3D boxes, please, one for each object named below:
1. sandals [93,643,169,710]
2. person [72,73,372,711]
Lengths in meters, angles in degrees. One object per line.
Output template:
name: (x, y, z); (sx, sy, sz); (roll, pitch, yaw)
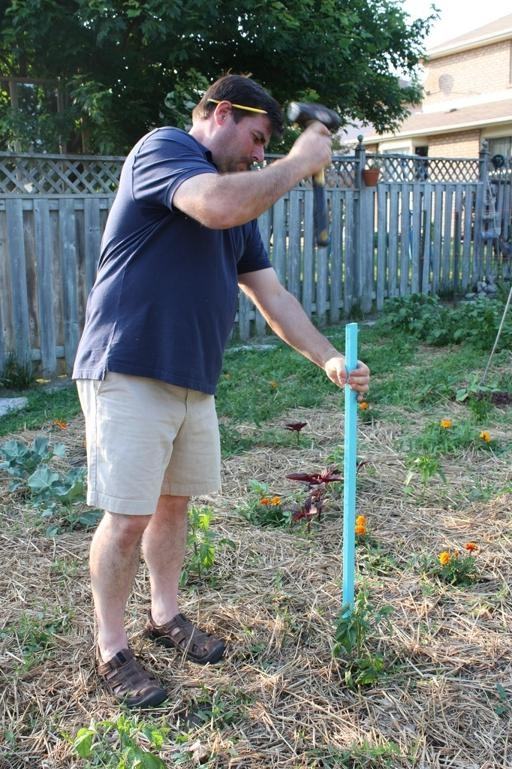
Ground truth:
sandals: (-0.364, 0.844, 1.983); (0.338, 0.092, 0.125); (8, 14, 38)
person: (-0.157, -0.003, 2.021); (0.825, 1.717, 0.657); (-15, 20, -39)
